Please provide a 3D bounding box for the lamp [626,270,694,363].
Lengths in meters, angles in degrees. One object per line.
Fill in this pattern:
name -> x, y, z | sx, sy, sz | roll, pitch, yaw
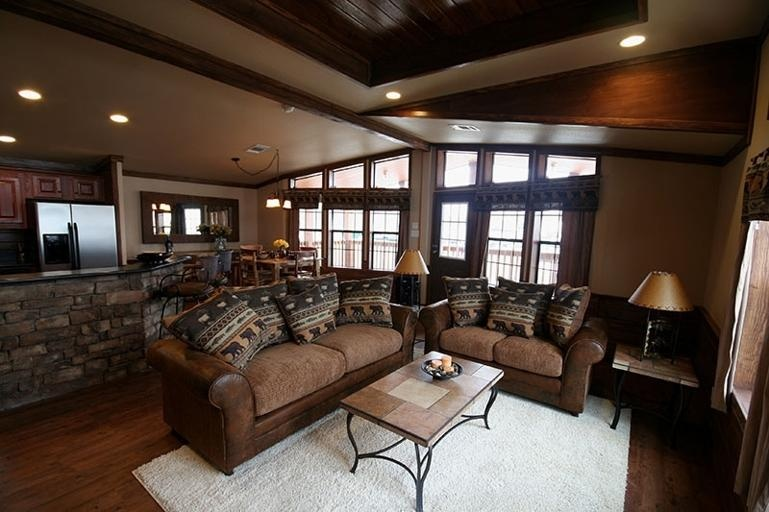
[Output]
lamp -> 2.978, 0.641, 5.081 | 0.564, 0.933, 0.623 | 1, 6, 10

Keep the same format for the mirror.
mirror -> -3.913, -0.726, 9.439 | 0.047, 0.997, 2.029 | 0, 1, 41

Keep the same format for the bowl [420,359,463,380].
bowl -> 0.619, 1.180, 4.674 | 0.256, 0.055, 0.245 | 1, 2, 0

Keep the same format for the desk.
desk -> 2.920, 1.545, 5.067 | 0.971, 0.756, 0.921 | 12, 5, 44

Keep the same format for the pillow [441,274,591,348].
pillow -> 1.609, 0.647, 5.606 | 1.915, 0.746, 0.795 | 5, 19, 22

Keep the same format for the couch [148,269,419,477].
couch -> -0.950, 0.999, 5.400 | 1.337, 1.343, 3.047 | 10, 13, 39

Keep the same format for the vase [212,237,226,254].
vase -> -2.890, -0.176, 8.023 | 0.176, 0.274, 0.344 | -3, 6, -27

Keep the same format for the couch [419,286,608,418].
couch -> 1.567, 1.123, 5.801 | 2.139, 1.151, 1.124 | 8, 7, 20

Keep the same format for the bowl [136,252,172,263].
bowl -> -3.095, 0.030, 6.159 | 0.366, 0.130, 0.516 | -2, 5, -23

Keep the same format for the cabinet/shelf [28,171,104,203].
cabinet/shelf -> -4.965, -1.052, 7.035 | 0.194, 0.307, 0.673 | -2, -1, 40
